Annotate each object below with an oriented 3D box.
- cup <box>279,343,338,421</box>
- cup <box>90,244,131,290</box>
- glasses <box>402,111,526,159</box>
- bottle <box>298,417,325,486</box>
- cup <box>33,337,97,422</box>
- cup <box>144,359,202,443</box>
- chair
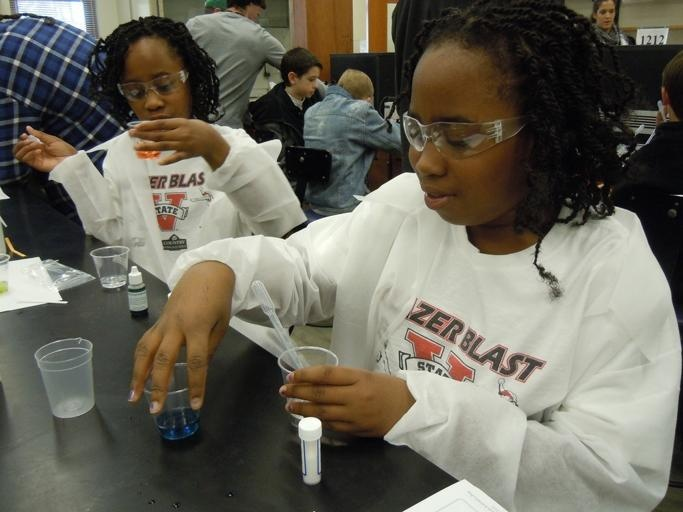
[{"bbox_3d":[-0.064,0.265,1.115,0.129,0.138,0.132,-1,17,0],"label":"cup"},{"bbox_3d":[-0.720,0.034,1.730,0.136,0.147,0.141,-1,1,0],"label":"cup"},{"bbox_3d":[0.259,-0.269,1.171,0.268,0.089,0.123,4,20,18],"label":"glasses"},{"bbox_3d":[-0.056,0.325,0.944,0.039,0.123,0.096,-4,19,-5],"label":"bottle"},{"bbox_3d":[-0.595,0.256,1.162,0.135,0.163,0.157,-2,8,-7],"label":"cup"},{"bbox_3d":[-0.321,0.302,1.094,0.124,0.144,0.127,-1,12,0],"label":"cup"},{"bbox_3d":[-0.216,-0.465,3.235,0.260,0.292,0.486,10,49,-14],"label":"chair"}]
